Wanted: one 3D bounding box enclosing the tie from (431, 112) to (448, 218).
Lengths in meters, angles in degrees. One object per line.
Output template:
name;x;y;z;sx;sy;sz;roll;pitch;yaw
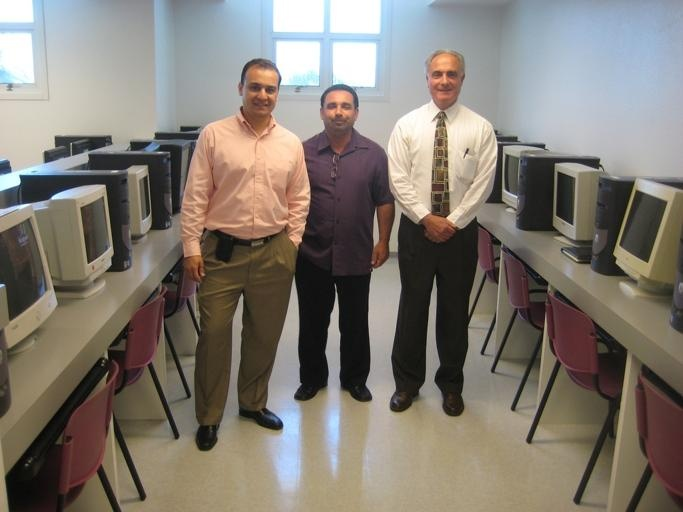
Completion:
tie;0.550;-0.509;2.831;0.103;0.554;0.130;-2;14;-9

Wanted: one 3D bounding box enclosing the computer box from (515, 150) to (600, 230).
computer box;1.408;-0.442;3.507;0.443;0.619;0.652;0;10;4

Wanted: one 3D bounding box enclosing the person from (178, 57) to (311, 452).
person;-0.477;0.116;2.660;0.663;1.715;0.268;-5;15;-22

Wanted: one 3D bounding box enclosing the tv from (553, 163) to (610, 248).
tv;1.442;-0.292;3.052;0.235;0.433;0.441;-1;14;1

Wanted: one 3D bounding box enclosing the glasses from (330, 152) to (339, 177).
glasses;-0.040;-0.494;2.803;0.034;0.127;0.064;1;14;-1

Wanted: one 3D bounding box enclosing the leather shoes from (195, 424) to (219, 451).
leather shoes;-0.716;0.951;2.669;0.064;0.068;0.163;4;4;-11

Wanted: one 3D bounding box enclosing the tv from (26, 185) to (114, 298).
tv;-1.180;-0.045;2.211;0.220;0.439;0.417;2;14;2
